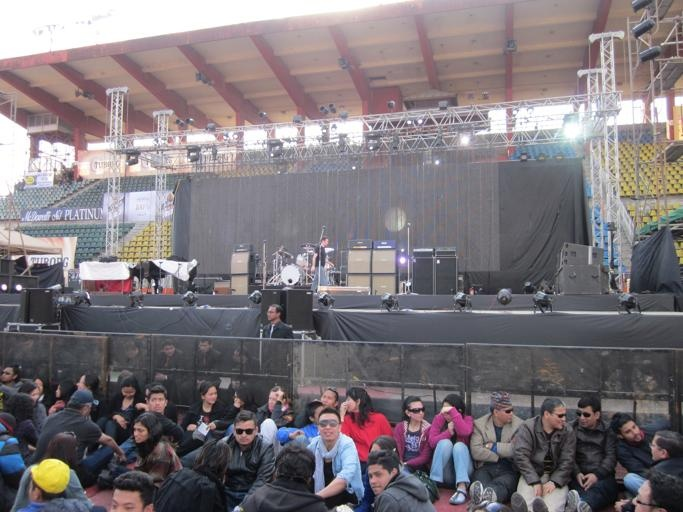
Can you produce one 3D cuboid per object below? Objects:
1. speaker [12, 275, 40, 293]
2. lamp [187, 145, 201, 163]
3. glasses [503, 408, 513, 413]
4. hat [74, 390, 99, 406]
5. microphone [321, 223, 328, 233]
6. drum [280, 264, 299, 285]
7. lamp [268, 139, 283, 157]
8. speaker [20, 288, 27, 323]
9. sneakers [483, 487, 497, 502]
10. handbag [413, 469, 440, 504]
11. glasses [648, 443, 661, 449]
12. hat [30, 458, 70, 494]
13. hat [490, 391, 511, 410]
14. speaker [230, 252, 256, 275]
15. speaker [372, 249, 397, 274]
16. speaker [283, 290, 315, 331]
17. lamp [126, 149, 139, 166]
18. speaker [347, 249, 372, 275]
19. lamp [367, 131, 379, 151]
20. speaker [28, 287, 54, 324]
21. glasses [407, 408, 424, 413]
[{"bbox_3d":[-8.892,0.754,22.422,0.800,0.576,0.798,1,-4,-20],"label":"speaker"},{"bbox_3d":[-5.247,-3.647,28.764,0.447,0.629,0.532,0,8,-3],"label":"lamp"},{"bbox_3d":[3.025,2.806,14.431,0.195,0.098,0.065,4,-8,-41],"label":"glasses"},{"bbox_3d":[-4.636,2.598,14.428,0.309,0.242,0.458,6,4,11],"label":"hat"},{"bbox_3d":[-0.610,-0.960,28.822,0.187,0.334,0.120,0,1,-2],"label":"microphone"},{"bbox_3d":[-1.438,0.567,21.463,0.595,0.640,0.474,-4,-7,17],"label":"drum"},{"bbox_3d":[-2.407,-3.871,28.824,0.543,0.782,0.554,3,1,5],"label":"lamp"},{"bbox_3d":[-7.540,1.196,18.956,0.219,0.772,0.151,-1,-5,-2],"label":"speaker"},{"bbox_3d":[2.522,4.084,13.631,0.183,0.443,0.188,-2,-1,23],"label":"sneakers"},{"bbox_3d":[1.485,4.053,14.025,0.334,0.560,0.729,-4,-6,29],"label":"handbag"},{"bbox_3d":[5.278,3.219,13.491,0.093,0.125,0.264,-1,-6,-1],"label":"glasses"},{"bbox_3d":[-4.552,3.394,12.574,0.570,0.373,0.441,32,10,13],"label":"hat"},{"bbox_3d":[2.916,2.655,14.574,0.309,0.314,0.254,-24,-23,40],"label":"hat"},{"bbox_3d":[-3.049,0.248,24.643,0.693,0.706,0.662,-2,-10,4],"label":"speaker"},{"bbox_3d":[1.225,0.212,23.293,0.689,0.678,0.678,0,-8,3],"label":"speaker"},{"bbox_3d":[-1.001,1.226,17.926,0.799,1.180,0.794,0,-5,-7],"label":"speaker"},{"bbox_3d":[-7.667,-3.606,29.175,0.471,0.486,0.436,-15,26,-4],"label":"lamp"},{"bbox_3d":[0.545,0.210,23.473,0.836,0.847,0.597,-1,-7,13],"label":"speaker"},{"bbox_3d":[1.094,-3.993,27.701,0.399,0.392,0.716,10,-35,9],"label":"lamp"},{"bbox_3d":[-7.195,1.217,19.120,0.678,0.826,0.349,3,-6,-32],"label":"speaker"},{"bbox_3d":[1.367,2.816,14.542,0.326,0.080,0.119,2,-6,-25],"label":"glasses"}]
